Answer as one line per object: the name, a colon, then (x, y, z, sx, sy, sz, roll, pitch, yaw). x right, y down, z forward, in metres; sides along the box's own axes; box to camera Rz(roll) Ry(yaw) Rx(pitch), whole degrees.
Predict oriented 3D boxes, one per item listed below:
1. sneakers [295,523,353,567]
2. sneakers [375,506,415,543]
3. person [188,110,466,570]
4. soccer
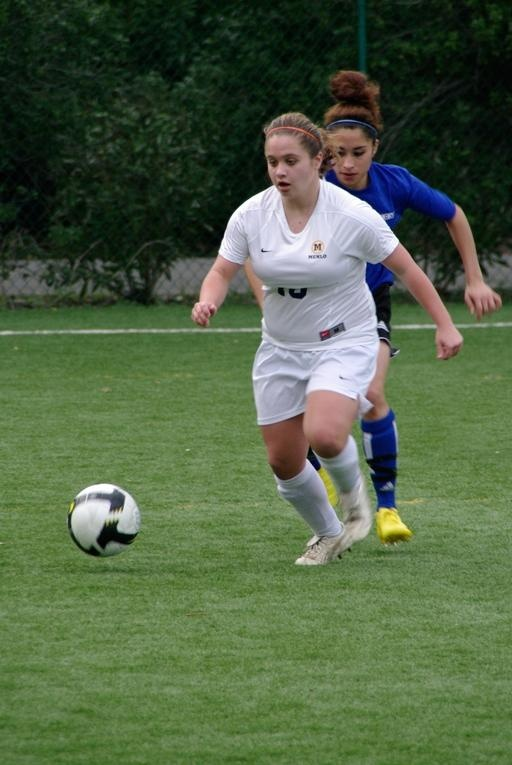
sneakers: (0.204, 0.506, 3.501, 0.219, 0.074, 0.072, -19, 7, -39)
sneakers: (0.441, 0.460, 3.627, 0.087, 0.048, 0.126, -14, 8, 4)
person: (0.231, -0.031, 3.398, 0.793, 1.198, 0.425, 0, 14, -3)
soccer: (-0.481, 0.430, 3.462, 0.242, 0.212, 0.214, 5, -7, -11)
